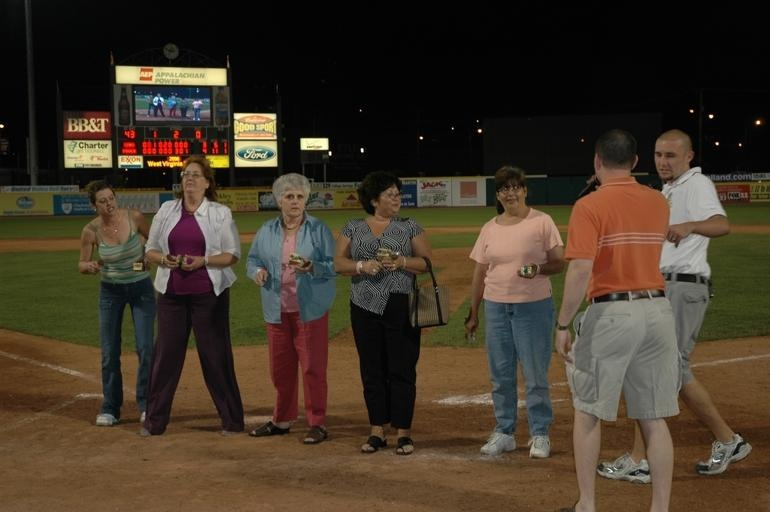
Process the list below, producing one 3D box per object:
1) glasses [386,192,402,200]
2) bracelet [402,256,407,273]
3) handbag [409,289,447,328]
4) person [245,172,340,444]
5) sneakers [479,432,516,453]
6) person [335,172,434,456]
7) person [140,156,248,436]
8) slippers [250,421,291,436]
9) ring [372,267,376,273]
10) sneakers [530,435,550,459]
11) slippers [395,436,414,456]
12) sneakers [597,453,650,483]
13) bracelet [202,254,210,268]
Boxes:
[{"bbox_3d":[0.055,-0.571,7.306,0.095,0.047,0.107,1,0,-26],"label":"glasses"},{"bbox_3d":[0.177,0.064,7.153,0.041,0.127,0.095,1,5,7],"label":"bracelet"},{"bbox_3d":[0.379,0.474,7.099,0.406,0.470,0.180,2,1,0],"label":"handbag"},{"bbox_3d":[-0.903,0.490,7.566,0.902,2.603,0.536,1,5,9],"label":"person"},{"bbox_3d":[1.059,1.738,7.219,0.409,0.161,0.139,0,-4,-26],"label":"sneakers"},{"bbox_3d":[-0.031,0.508,7.317,0.857,2.614,0.507,1,5,9],"label":"person"},{"bbox_3d":[-1.954,0.387,7.725,1.011,2.783,0.489,-1,5,-10],"label":"person"},{"bbox_3d":[-1.161,1.733,7.792,0.416,0.143,0.141,3,-2,-9],"label":"slippers"},{"bbox_3d":[-0.101,0.121,7.083,0.049,0.043,0.017,0,5,-2],"label":"ring"},{"bbox_3d":[1.428,1.729,7.092,0.193,0.206,0.171,1,5,9],"label":"sneakers"},{"bbox_3d":[0.175,1.769,7.191,0.155,0.113,0.392,-2,-4,3],"label":"slippers"},{"bbox_3d":[2.066,1.820,6.745,0.515,0.217,0.232,3,3,9],"label":"sneakers"},{"bbox_3d":[-1.769,0.034,7.555,0.072,0.085,0.035,1,-8,-30],"label":"bracelet"}]
